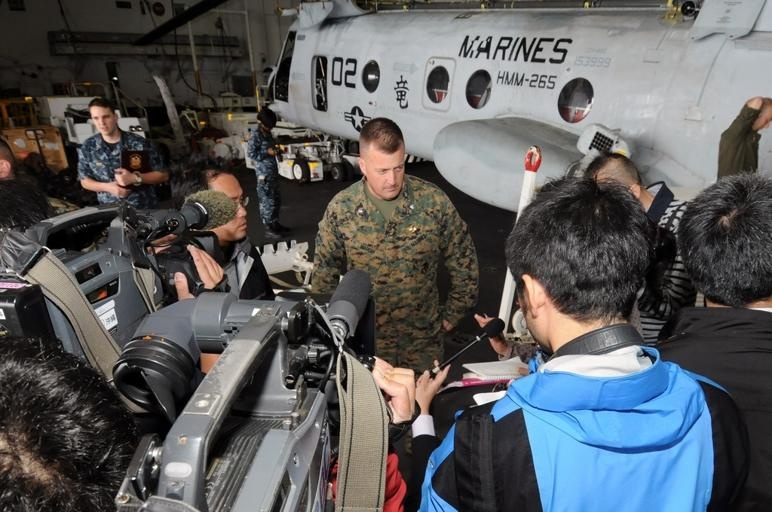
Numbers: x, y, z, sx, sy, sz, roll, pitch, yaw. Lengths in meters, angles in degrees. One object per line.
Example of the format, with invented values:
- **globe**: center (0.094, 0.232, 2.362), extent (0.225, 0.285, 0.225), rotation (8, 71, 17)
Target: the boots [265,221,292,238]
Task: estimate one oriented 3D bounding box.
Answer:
- **boots**: center (-1.405, -0.361, 6.893), extent (0.418, 0.274, 0.157), rotation (-5, 22, -3)
